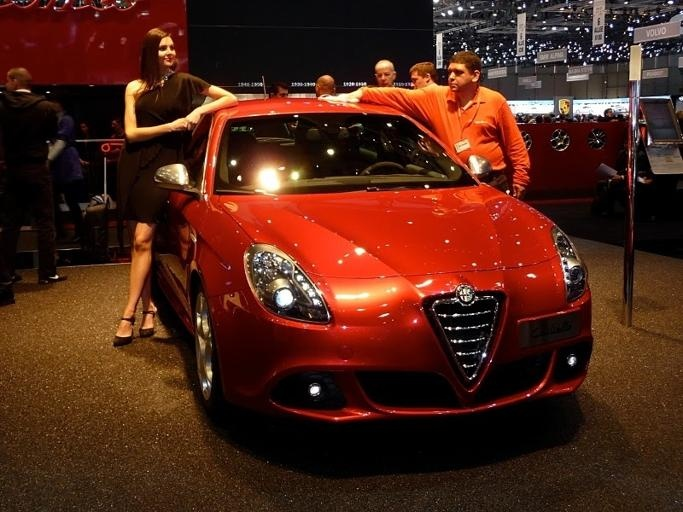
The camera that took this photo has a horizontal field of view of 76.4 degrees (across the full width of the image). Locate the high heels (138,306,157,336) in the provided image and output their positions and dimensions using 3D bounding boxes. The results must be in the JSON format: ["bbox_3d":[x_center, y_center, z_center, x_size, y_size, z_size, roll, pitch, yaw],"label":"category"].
[{"bbox_3d":[-1.725,0.616,3.847,0.106,0.085,0.324,-1,50,-1],"label":"high heels"}]

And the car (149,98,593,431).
[{"bbox_3d":[-0.135,-0.367,3.461,2.044,1.440,3.856,-4,18,-20],"label":"car"}]

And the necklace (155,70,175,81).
[{"bbox_3d":[-1.448,-1.482,3.565,0.083,0.041,0.106,-21,-5,-42],"label":"necklace"}]

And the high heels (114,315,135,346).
[{"bbox_3d":[-1.846,0.648,3.708,0.112,0.144,0.323,2,12,0],"label":"high heels"}]

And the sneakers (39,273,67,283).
[{"bbox_3d":[-3.792,0.301,5.686,0.284,0.117,0.102,-9,18,-37],"label":"sneakers"}]
